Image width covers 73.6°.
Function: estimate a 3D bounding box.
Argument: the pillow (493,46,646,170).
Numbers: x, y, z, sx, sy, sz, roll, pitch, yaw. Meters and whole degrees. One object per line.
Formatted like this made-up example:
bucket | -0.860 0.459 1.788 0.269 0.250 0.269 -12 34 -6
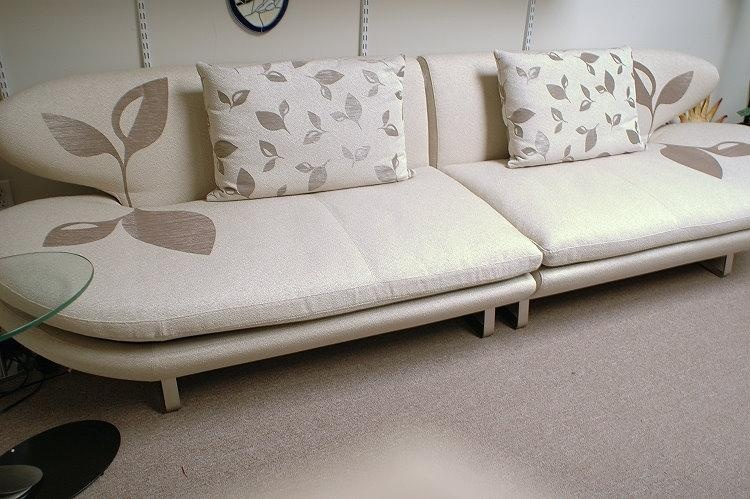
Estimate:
pillow | 0.961 -0.704 2.533 0.633 0.405 0.211 -8 27 -16
